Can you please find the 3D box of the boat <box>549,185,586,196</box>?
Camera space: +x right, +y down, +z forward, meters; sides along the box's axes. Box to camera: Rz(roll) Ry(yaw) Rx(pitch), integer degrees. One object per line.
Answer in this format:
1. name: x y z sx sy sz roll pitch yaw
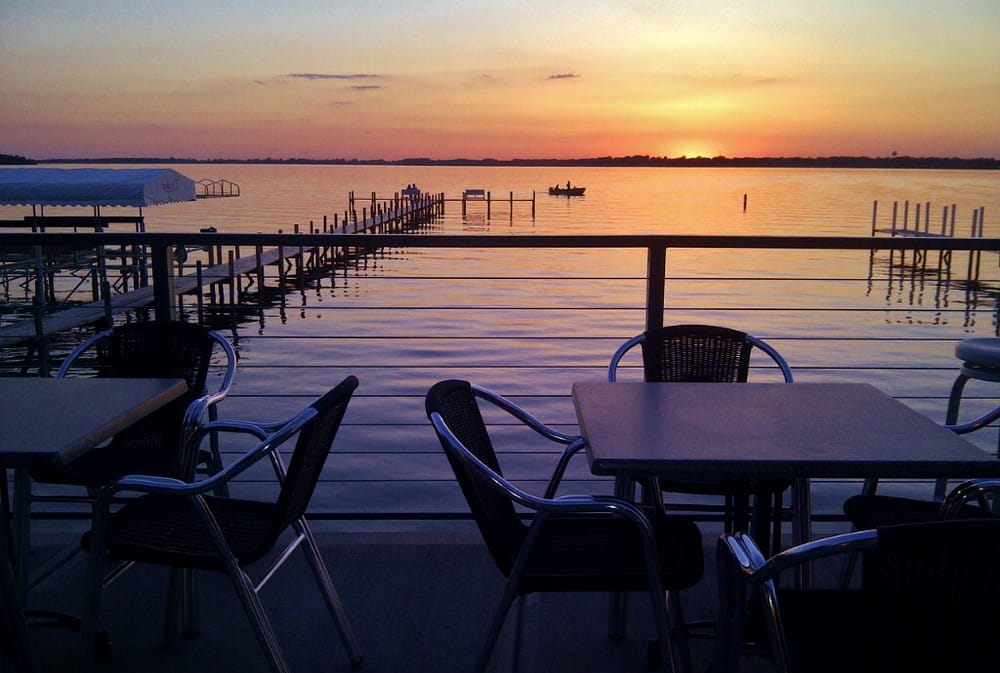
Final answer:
1. boat: 4.888 -10.681 77.186 1.684 0.850 3.546 -1 6 -16
